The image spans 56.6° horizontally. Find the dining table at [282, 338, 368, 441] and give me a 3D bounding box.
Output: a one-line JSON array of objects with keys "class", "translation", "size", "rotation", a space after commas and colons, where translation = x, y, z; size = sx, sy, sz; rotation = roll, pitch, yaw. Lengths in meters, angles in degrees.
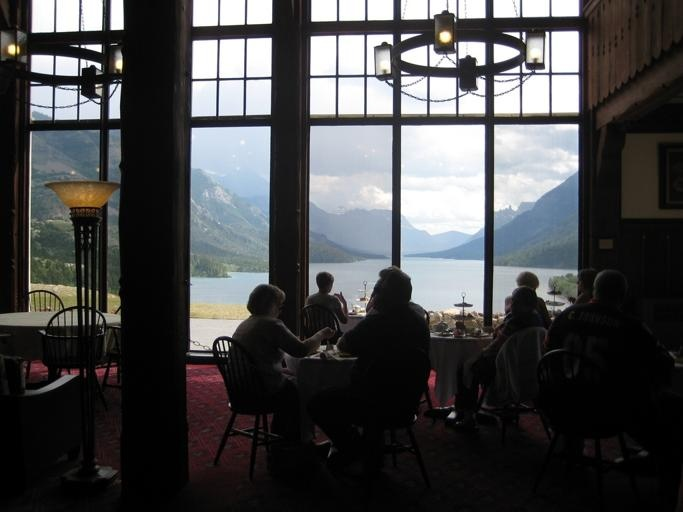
[{"class": "dining table", "translation": [-0.158, 1.218, 5.701], "size": [0.674, 0.558, 0.679], "rotation": [-1, -2, -1]}]

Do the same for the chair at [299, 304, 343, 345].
[{"class": "chair", "translation": [-0.269, 0.791, 7.428], "size": [0.396, 0.645, 0.469], "rotation": [2, 3, 18]}]

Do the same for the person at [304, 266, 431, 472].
[{"class": "person", "translation": [0.267, 0.941, 5.361], "size": [0.947, 1.673, 0.337], "rotation": [1, -1, 8]}]

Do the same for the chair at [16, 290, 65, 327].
[{"class": "chair", "translation": [-3.868, 0.675, 8.128], "size": [0.296, 0.433, 0.266], "rotation": [4, -8, -32]}]

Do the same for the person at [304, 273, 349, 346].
[{"class": "person", "translation": [-0.197, 0.762, 7.500], "size": [0.504, 1.107, 0.515], "rotation": [2, -1, 40]}]

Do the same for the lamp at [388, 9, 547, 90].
[{"class": "lamp", "translation": [1.165, -2.073, 6.588], "size": [1.801, 0.764, 1.169], "rotation": [1, 0, 17]}]

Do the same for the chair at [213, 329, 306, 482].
[{"class": "chair", "translation": [-0.855, 1.306, 5.790], "size": [0.632, 0.807, 0.762], "rotation": [1, 0, -12]}]

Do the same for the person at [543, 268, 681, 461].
[{"class": "person", "translation": [2.374, 1.105, 5.645], "size": [1.210, 1.991, 1.066], "rotation": [7, 17, 37]}]
